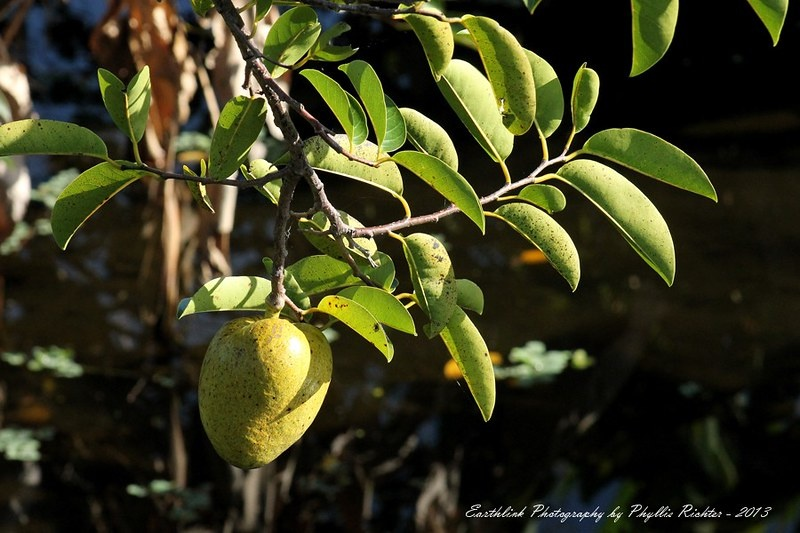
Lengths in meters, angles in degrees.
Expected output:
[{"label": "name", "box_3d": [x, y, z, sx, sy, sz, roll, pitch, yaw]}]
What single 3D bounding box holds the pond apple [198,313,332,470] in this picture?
[{"label": "pond apple", "box_3d": [-0.371, 0.322, 2.927, 0.369, 0.544, 0.404, 13, 2, 4]}]
